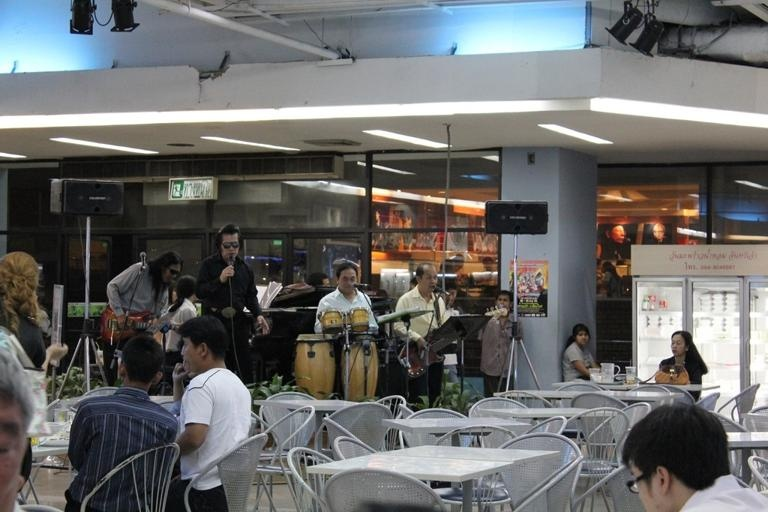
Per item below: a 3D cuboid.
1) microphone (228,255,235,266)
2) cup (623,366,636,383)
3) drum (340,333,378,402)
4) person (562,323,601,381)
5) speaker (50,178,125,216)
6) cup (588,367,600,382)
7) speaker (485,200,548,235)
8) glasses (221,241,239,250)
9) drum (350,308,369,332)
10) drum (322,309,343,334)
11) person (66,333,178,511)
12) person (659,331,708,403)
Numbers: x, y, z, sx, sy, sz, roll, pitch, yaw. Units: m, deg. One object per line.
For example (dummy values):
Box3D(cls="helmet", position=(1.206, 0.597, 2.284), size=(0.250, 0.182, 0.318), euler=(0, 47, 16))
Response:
Box3D(cls="microphone", position=(-1.767, 0.045, 11.970), size=(0.085, 0.119, 0.231), euler=(1, -4, -7))
Box3D(cls="cup", position=(3.030, 1.464, 12.762), size=(0.152, 0.214, 0.164), euler=(0, -5, 0))
Box3D(cls="drum", position=(-0.309, 1.312, 12.124), size=(0.344, 0.798, 0.371), euler=(-1, 3, 0))
Box3D(cls="person", position=(2.796, 1.403, 14.298), size=(0.552, 0.914, 0.664), euler=(1, -5, -23))
Box3D(cls="speaker", position=(-3.526, -0.706, 12.302), size=(0.795, 0.432, 0.279), euler=(2, -3, -20))
Box3D(cls="cup", position=(2.596, 1.449, 12.780), size=(0.132, 0.165, 0.139), euler=(1, 0, 0))
Box3D(cls="speaker", position=(1.656, -0.492, 13.089), size=(0.708, 0.435, 0.507), euler=(2, 5, 11))
Box3D(cls="glasses", position=(-1.757, -0.132, 11.858), size=(0.191, 0.074, 0.105), euler=(1, -4, -13))
Box3D(cls="drum", position=(-0.293, 0.723, 11.757), size=(0.228, 0.259, 0.236), euler=(1, -20, -6))
Box3D(cls="drum", position=(-0.583, 0.739, 11.816), size=(0.233, 0.192, 0.247), euler=(-1, -23, -1))
Box3D(cls="person", position=(-2.064, 1.310, 8.203), size=(0.846, 1.374, 0.295), euler=(1, -3, -19))
Box3D(cls="person", position=(3.823, 1.326, 13.097), size=(0.489, 0.929, 0.479), euler=(1, 6, 13))
